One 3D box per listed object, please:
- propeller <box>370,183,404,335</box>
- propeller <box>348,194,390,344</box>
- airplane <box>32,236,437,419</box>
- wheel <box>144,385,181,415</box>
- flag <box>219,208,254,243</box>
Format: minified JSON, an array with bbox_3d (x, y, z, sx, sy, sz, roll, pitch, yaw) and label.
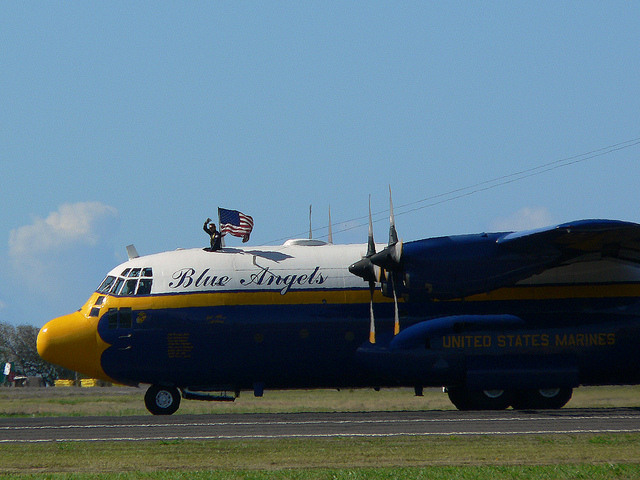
[{"bbox_3d":[2.365,0.585,49.636,1.203,6.388,1.319,-1,-1,4],"label":"propeller"},{"bbox_3d":[1.925,1.203,50.584,1.188,5.119,1.154,-4,0,11],"label":"propeller"},{"bbox_3d":[-3.067,2.463,53.929,4.075,7.602,19.710,12,8,40],"label":"airplane"},{"bbox_3d":[-5.861,5.949,51.258,1.288,1.188,0.434,1,-5,-12],"label":"wheel"},{"bbox_3d":[-3.286,-0.588,53.996,1.521,1.269,0.158,9,5,22],"label":"flag"}]
